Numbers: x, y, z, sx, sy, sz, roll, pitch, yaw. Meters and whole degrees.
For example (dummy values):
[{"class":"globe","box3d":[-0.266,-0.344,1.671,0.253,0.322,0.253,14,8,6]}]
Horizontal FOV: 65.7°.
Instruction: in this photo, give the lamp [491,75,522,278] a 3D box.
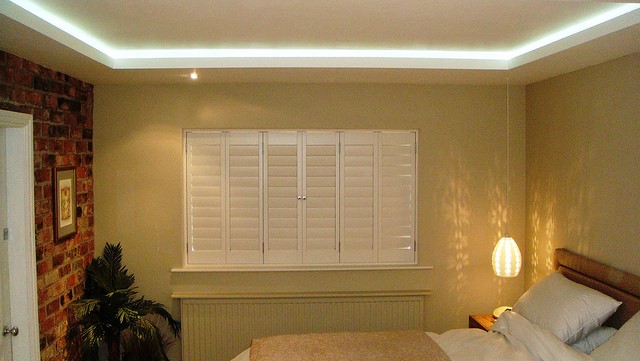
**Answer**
[{"class":"lamp","box3d":[2.150,0.004,5.691,0.283,2.076,0.669,0,0,23]}]
